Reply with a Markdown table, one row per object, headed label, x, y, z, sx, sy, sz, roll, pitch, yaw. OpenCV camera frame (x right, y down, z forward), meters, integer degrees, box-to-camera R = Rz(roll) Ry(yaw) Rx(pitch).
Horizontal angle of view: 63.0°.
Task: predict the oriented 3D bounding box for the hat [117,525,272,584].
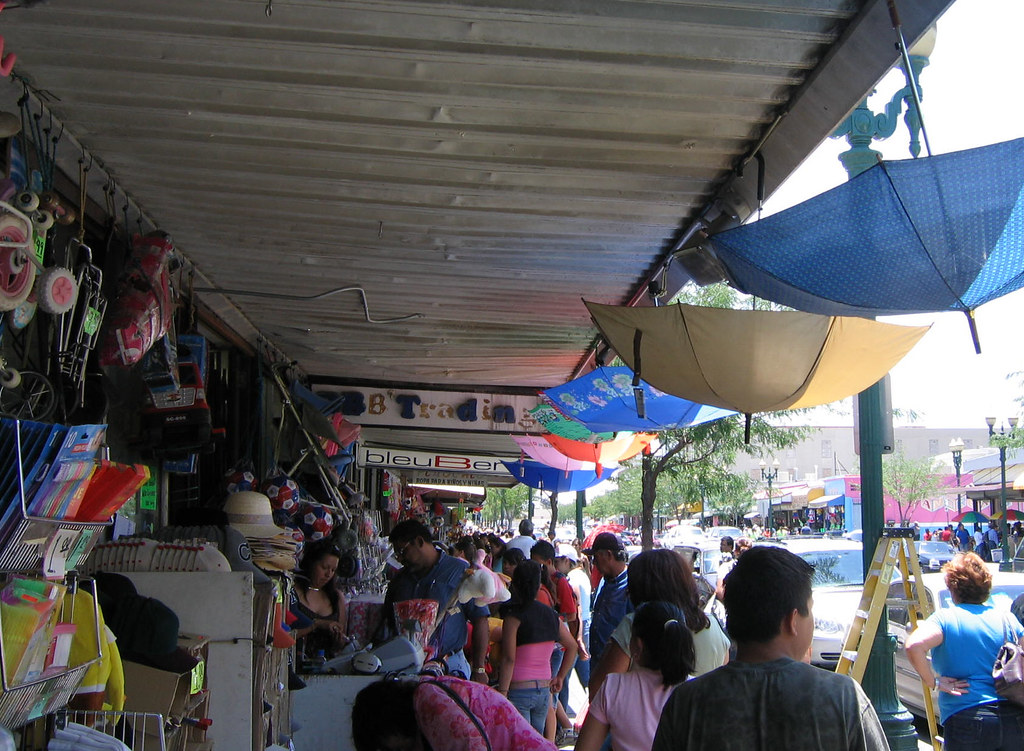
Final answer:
| label | x | y | z | sx | sy | sz | roll | pitch | yaw |
| --- | --- | --- | --- | --- | --- | --- | --- | --- | --- |
| hat | -1.900 | 1.030 | 5.202 | 0.635 | 0.221 | 0.434 | 16 | -4 | 4 |

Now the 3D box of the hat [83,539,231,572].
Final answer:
| label | x | y | z | sx | sy | sz | roll | pitch | yaw |
| --- | --- | --- | --- | --- | --- | --- | --- | --- | --- |
| hat | -2.057 | 1.051 | 4.827 | 0.477 | 0.150 | 0.350 | 4 | -14 | 0 |

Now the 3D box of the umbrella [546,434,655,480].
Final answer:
| label | x | y | z | sx | sy | sz | roll | pitch | yaw |
| --- | --- | --- | --- | --- | --- | --- | --- | --- | --- |
| umbrella | 1.298 | 1.059 | 11.739 | 0.888 | 0.643 | 0.910 | 4 | -8 | -14 |

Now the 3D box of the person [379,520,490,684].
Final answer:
| label | x | y | z | sx | sy | sz | roll | pitch | yaw |
| --- | --- | --- | --- | --- | --- | --- | --- | --- | --- |
| person | -0.635 | 1.845 | 6.857 | 0.880 | 1.303 | 0.817 | 0 | -11 | -5 |

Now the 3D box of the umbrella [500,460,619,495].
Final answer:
| label | x | y | z | sx | sy | sz | roll | pitch | yaw |
| --- | --- | --- | --- | --- | --- | --- | --- | --- | --- |
| umbrella | 0.692 | 2.367 | 19.617 | 1.670 | 0.591 | 1.679 | 7 | -10 | -29 |

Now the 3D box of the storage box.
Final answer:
| label | x | y | z | sx | sy | sz | roll | pitch | yaw |
| --- | --- | --- | --- | --- | --- | --- | --- | --- | --- |
| storage box | -1.684 | 1.559 | 4.228 | 0.441 | 0.508 | 0.372 | -2 | 3 | 3 |
